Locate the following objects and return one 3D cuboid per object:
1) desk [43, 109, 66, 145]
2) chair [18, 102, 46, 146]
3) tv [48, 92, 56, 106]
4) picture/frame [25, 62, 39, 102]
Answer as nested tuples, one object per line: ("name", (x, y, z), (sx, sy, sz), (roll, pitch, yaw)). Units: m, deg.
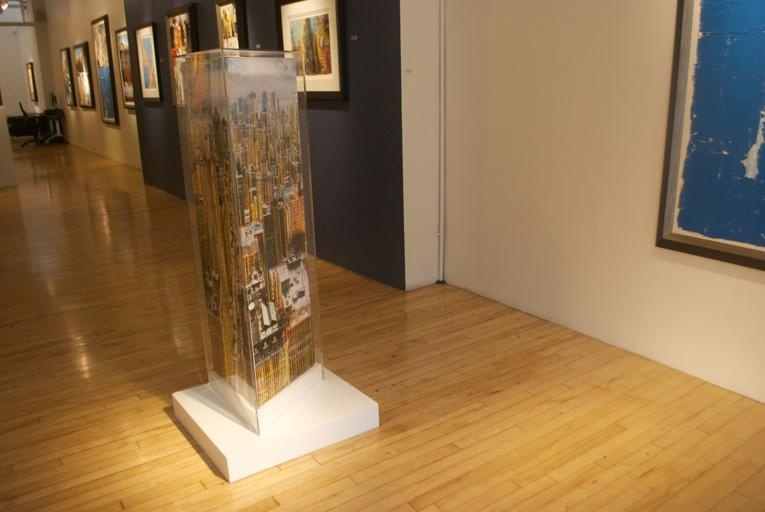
("desk", (-12.259, -4.839, 19.881), (0.674, 1.158, 1.215), (-10, 24, -35))
("chair", (-12.883, -4.765, 19.639), (0.959, 1.244, 1.949), (-18, 31, -29))
("tv", (-12.527, -5.961, 20.188), (0.260, 0.445, 0.575), (-18, 31, -29))
("picture/frame", (-15.637, -7.856, 23.726), (0.308, 1.934, 1.640), (-9, 23, -30))
